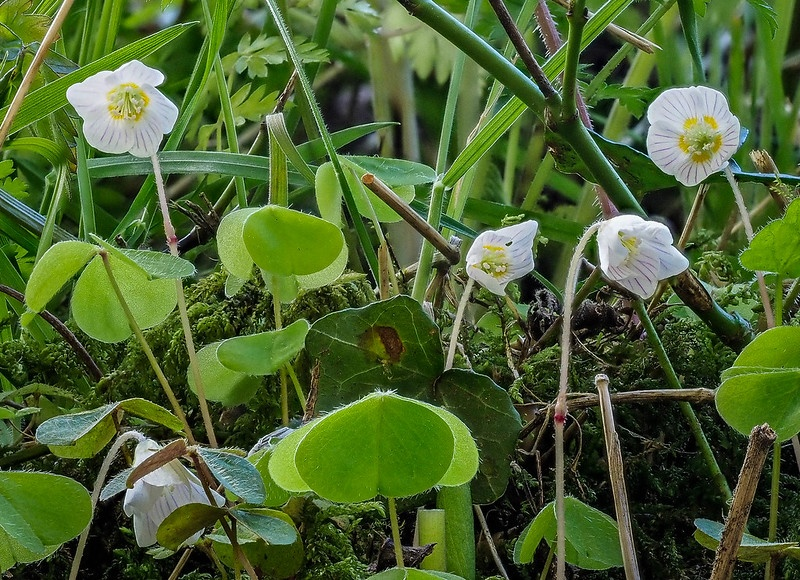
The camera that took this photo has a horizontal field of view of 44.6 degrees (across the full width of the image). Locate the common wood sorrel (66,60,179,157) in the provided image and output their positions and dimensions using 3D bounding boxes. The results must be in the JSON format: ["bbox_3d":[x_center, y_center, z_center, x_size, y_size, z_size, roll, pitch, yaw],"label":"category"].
[{"bbox_3d":[-0.271,-0.197,0.967,0.100,0.052,0.096,-17,11,34],"label":"common wood sorrel"}]

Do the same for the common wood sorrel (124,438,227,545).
[{"bbox_3d":[-0.223,0.207,0.956,0.087,0.108,0.045,-37,70,-8],"label":"common wood sorrel"}]

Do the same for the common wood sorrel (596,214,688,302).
[{"bbox_3d":[0.224,-0.038,0.933,0.076,0.069,0.042,-16,41,-9],"label":"common wood sorrel"}]

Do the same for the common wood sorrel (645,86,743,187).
[{"bbox_3d":[0.300,-0.158,0.964,0.077,0.036,0.077,27,51,36],"label":"common wood sorrel"}]
